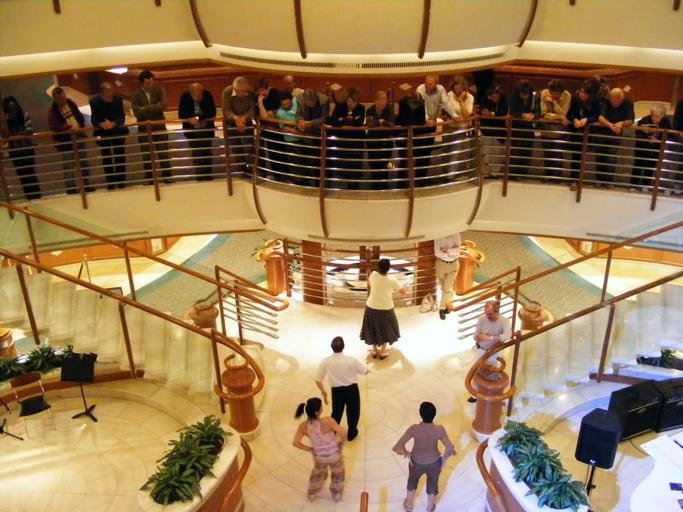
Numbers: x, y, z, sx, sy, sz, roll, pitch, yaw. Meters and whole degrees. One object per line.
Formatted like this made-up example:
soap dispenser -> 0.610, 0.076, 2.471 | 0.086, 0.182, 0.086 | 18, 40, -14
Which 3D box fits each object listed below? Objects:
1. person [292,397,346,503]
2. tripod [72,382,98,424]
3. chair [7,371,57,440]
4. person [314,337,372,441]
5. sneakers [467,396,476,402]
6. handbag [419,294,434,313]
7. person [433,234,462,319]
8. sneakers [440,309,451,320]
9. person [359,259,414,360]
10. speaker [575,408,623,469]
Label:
person -> -0.230, 2.359, 6.062 | 0.593, 1.437, 0.406 | -4, 23, 1
tripod -> -3.907, 2.165, 7.643 | 0.330, 0.566, 0.700 | 0, -1, -29
chair -> -4.404, 2.140, 7.194 | 0.502, 0.756, 0.558 | -7, 25, -25
person -> 0.020, 1.805, 6.866 | 0.706, 1.563, 0.486 | -5, 18, -7
sneakers -> 1.946, 2.163, 7.575 | 0.146, 0.052, 0.063 | 1, -43, 6
handbag -> 1.626, 0.911, 9.545 | 0.253, 0.347, 0.101 | 1, -14, 8
person -> 1.884, 0.405, 9.037 | 0.428, 1.554, 0.721 | -1, -1, 10
sneakers -> 1.889, 1.053, 9.271 | 0.156, 0.220, 0.125 | 20, -20, 37
person -> 0.620, 0.881, 8.105 | 0.665, 1.668, 1.584 | 0, -1, 4
speaker -> 2.882, 2.055, 5.579 | 0.463, 0.603, 0.347 | 0, -1, -25
